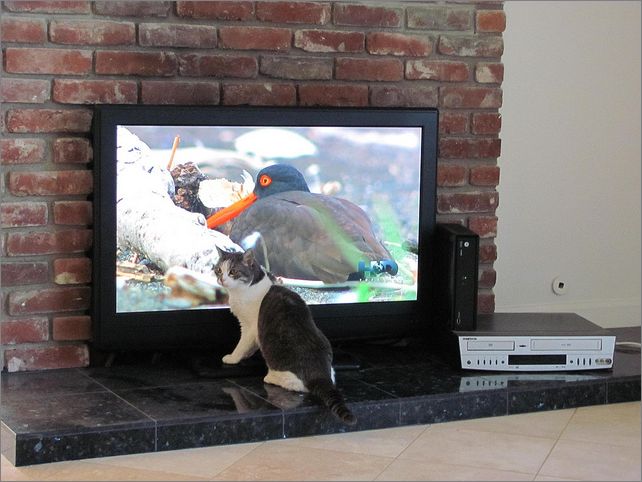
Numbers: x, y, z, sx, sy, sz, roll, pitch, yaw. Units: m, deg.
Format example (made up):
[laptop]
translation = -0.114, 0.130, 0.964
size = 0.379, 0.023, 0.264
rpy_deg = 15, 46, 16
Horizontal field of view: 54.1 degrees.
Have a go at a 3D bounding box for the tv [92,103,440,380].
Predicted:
[tv]
translation = -0.195, 0.033, 2.522
size = 1.349, 0.948, 0.365
rpy_deg = 0, -2, -12

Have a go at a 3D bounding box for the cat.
[cat]
translation = -0.120, 0.284, 2.210
size = 0.687, 0.515, 0.229
rpy_deg = 0, 0, 40
